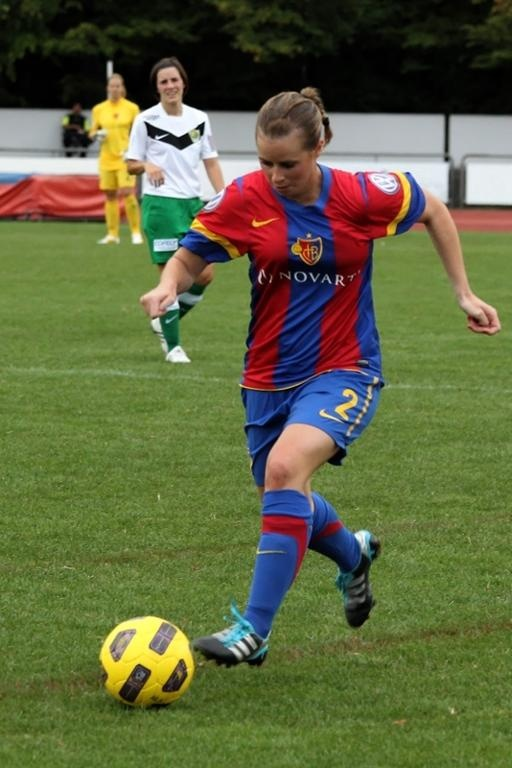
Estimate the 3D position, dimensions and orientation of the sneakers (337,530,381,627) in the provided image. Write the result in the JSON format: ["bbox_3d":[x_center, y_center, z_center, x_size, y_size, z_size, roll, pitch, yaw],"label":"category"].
[{"bbox_3d":[0.301,0.584,3.283,0.154,0.267,0.101,24,-23,-32],"label":"sneakers"}]

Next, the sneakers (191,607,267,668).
[{"bbox_3d":[-0.059,0.668,2.821,0.109,0.133,0.276,17,-1,41],"label":"sneakers"}]

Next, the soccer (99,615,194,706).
[{"bbox_3d":[-0.268,0.690,2.691,0.253,0.197,0.211,1,47,2],"label":"soccer"}]

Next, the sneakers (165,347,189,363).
[{"bbox_3d":[-0.482,-0.178,6.665,0.095,0.057,0.152,-3,5,-17],"label":"sneakers"}]

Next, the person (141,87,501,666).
[{"bbox_3d":[0.159,-0.053,3.059,1.030,1.577,0.669,-7,15,-26],"label":"person"}]
